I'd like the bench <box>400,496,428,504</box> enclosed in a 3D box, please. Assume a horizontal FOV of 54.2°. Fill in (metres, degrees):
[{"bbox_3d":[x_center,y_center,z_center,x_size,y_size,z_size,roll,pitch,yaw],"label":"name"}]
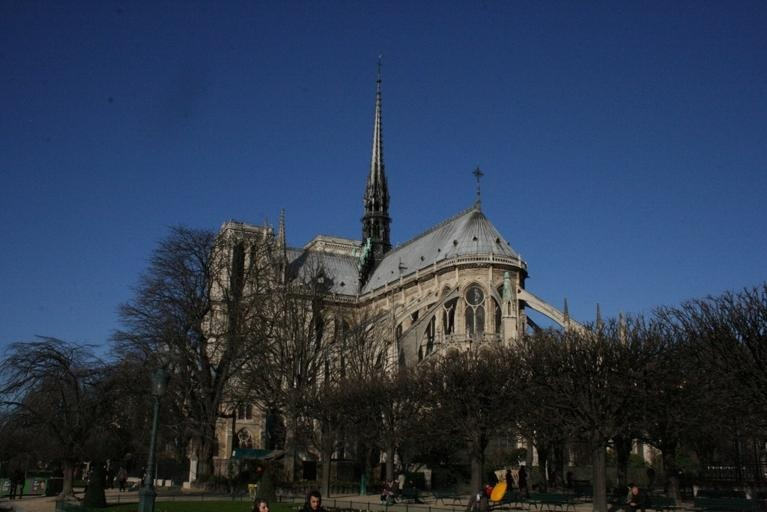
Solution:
[{"bbox_3d":[1.552,12.584,38.659,1.461,0.521,1.072,-8,-20,28],"label":"bench"}]
